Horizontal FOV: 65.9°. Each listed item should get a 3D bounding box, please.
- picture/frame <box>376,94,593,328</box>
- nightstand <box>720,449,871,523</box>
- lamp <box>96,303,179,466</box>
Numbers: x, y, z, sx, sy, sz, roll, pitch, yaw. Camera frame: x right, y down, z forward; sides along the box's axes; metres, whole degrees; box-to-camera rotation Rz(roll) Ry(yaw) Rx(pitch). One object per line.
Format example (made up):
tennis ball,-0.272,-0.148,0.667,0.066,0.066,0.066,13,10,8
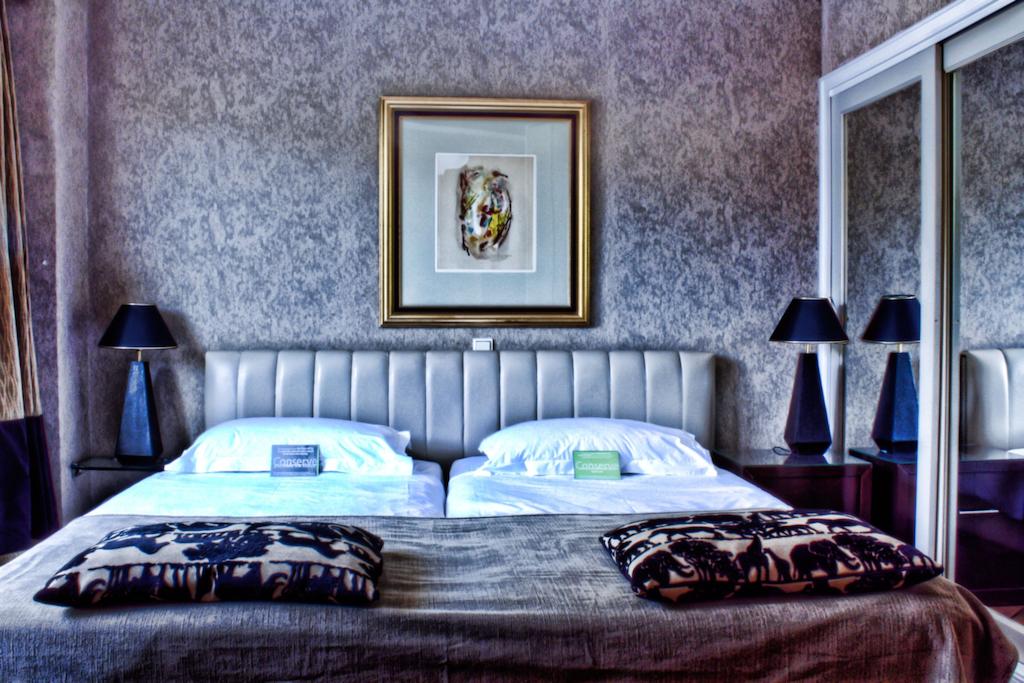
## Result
picture/frame,-0.208,-0.781,4.577,1.268,1.349,0.095,0,4,-2
nightstand,1.644,0.742,4.368,0.517,0.525,0.370,0,3,-2
lamp,-2.077,0.223,4.384,0.385,0.891,0.347,2,-3,-18
